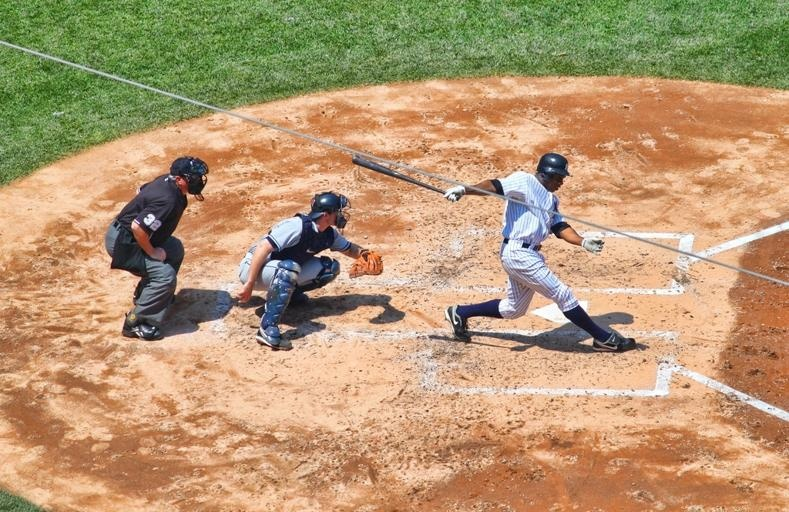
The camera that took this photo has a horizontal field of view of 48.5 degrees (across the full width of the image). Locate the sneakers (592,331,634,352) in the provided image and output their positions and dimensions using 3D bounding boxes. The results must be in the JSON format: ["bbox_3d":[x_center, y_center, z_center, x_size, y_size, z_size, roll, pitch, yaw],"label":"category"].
[{"bbox_3d":[2.687,1.126,11.262,0.727,0.172,0.194,-1,25,0],"label":"sneakers"}]

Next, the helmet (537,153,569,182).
[{"bbox_3d":[2.095,-1.122,11.130,0.539,0.339,0.231,15,98,6],"label":"helmet"}]

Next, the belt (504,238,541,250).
[{"bbox_3d":[1.583,-0.122,11.080,0.454,0.206,0.126,7,75,6],"label":"belt"}]

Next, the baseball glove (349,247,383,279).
[{"bbox_3d":[-0.339,0.157,11.939,0.648,0.227,0.289,-10,59,7],"label":"baseball glove"}]

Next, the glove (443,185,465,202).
[{"bbox_3d":[0.701,-0.763,10.946,0.272,0.282,0.069,-12,86,-27],"label":"glove"}]
